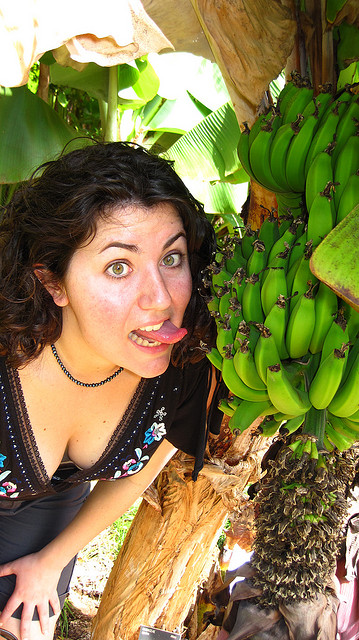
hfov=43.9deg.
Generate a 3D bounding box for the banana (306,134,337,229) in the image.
[{"bbox_3d":[0.206,-0.221,0.700,0.043,0.155,0.063,2,-28,8],"label":"banana"}]

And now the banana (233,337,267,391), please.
[{"bbox_3d":[0.127,0.075,0.740,0.033,0.116,0.047,-27,35,-15],"label":"banana"}]

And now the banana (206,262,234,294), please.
[{"bbox_3d":[0.079,-0.083,0.852,0.036,0.048,0.074,-48,-24,-29],"label":"banana"}]

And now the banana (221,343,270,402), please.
[{"bbox_3d":[0.102,0.101,0.735,0.076,0.103,0.027,2,35,20],"label":"banana"}]

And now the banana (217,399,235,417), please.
[{"bbox_3d":[0.091,0.175,0.867,0.012,0.023,0.039,-32,-50,-7],"label":"banana"}]

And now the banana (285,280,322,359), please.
[{"bbox_3d":[0.196,-0.006,0.703,0.045,0.037,0.130,-21,-40,-14],"label":"banana"}]

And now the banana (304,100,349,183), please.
[{"bbox_3d":[0.231,-0.306,0.773,0.057,0.141,0.037,17,12,-34],"label":"banana"}]

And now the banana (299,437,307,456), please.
[{"bbox_3d":[0.191,0.195,0.690,0.007,0.032,0.008,15,-17,-1],"label":"banana"}]

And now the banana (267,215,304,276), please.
[{"bbox_3d":[0.184,-0.128,0.768,0.038,0.039,0.123,7,-5,9],"label":"banana"}]

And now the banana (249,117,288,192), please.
[{"bbox_3d":[0.180,-0.317,0.886,0.043,0.172,0.065,3,19,27],"label":"banana"}]

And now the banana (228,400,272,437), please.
[{"bbox_3d":[0.116,0.155,0.727,0.033,0.030,0.114,-15,21,32],"label":"banana"}]

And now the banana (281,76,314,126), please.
[{"bbox_3d":[0.238,-0.430,0.856,0.038,0.133,0.050,30,-29,-20],"label":"banana"}]

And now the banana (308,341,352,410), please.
[{"bbox_3d":[0.231,0.086,0.678,0.034,0.031,0.116,26,-30,23],"label":"banana"}]

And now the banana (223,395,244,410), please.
[{"bbox_3d":[0.101,0.155,0.819,0.007,0.022,0.026,-6,20,-33],"label":"banana"}]

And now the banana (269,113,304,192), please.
[{"bbox_3d":[0.198,-0.311,0.822,0.057,0.040,0.167,1,-30,14],"label":"banana"}]

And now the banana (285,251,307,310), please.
[{"bbox_3d":[0.193,-0.072,0.742,0.022,0.079,0.030,6,-5,5],"label":"banana"}]

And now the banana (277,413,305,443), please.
[{"bbox_3d":[0.177,0.168,0.726,0.065,0.020,0.024,-47,-23,-30],"label":"banana"}]

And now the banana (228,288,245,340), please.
[{"bbox_3d":[0.101,-0.020,0.769,0.022,0.071,0.019,-8,11,-9],"label":"banana"}]

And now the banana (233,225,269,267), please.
[{"bbox_3d":[0.138,-0.143,0.862,0.043,0.044,0.123,-47,-24,-23],"label":"banana"}]

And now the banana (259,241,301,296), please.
[{"bbox_3d":[0.170,-0.086,0.741,0.031,0.033,0.094,22,-5,8],"label":"banana"}]

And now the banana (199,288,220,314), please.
[{"bbox_3d":[0.060,-0.036,0.859,0.024,0.036,0.067,-8,-38,22],"label":"banana"}]

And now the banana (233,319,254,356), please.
[{"bbox_3d":[0.102,0.029,0.703,0.033,0.047,0.088,1,-23,6],"label":"banana"}]

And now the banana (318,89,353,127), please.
[{"bbox_3d":[0.252,-0.349,0.732,0.024,0.036,0.099,8,38,18],"label":"banana"}]

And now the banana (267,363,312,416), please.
[{"bbox_3d":[0.160,0.103,0.668,0.047,0.077,0.122,-19,-6,18],"label":"banana"}]

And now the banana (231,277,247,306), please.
[{"bbox_3d":[0.107,-0.056,0.799,0.015,0.063,0.023,4,5,3],"label":"banana"}]

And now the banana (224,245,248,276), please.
[{"bbox_3d":[0.107,-0.115,0.856,0.029,0.034,0.066,-46,15,9],"label":"banana"}]

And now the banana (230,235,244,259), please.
[{"bbox_3d":[0.115,-0.164,0.934,0.015,0.063,0.018,-27,-29,13],"label":"banana"}]

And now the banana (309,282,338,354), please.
[{"bbox_3d":[0.237,-0.009,0.727,0.030,0.120,0.041,4,-16,22],"label":"banana"}]

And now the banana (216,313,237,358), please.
[{"bbox_3d":[0.077,0.024,0.738,0.037,0.066,0.067,-18,-6,4],"label":"banana"}]
